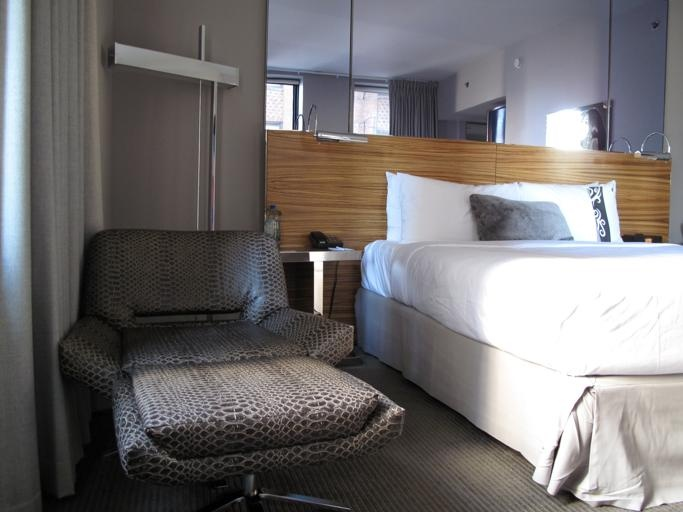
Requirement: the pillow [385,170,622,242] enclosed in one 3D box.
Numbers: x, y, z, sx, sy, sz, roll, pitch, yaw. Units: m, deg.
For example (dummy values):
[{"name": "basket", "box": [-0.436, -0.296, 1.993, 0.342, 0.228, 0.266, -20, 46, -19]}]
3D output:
[{"name": "pillow", "box": [1.136, -0.329, 3.623, 1.634, 0.454, 0.464, 0, 11, -9]}]
